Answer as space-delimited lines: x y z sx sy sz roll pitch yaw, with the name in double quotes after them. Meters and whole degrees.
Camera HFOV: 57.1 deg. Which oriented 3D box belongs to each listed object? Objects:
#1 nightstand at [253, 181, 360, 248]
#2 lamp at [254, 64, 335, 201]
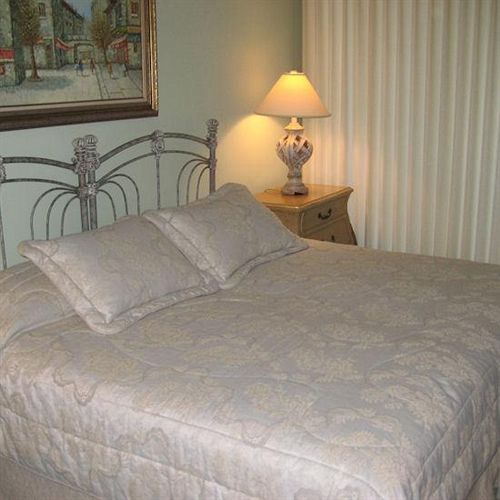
0.476 -0.101 3.567 0.644 0.649 0.421 -22 24 -35 "nightstand"
0.335 -0.992 3.747 0.773 1.231 0.774 0 20 3 "lamp"
